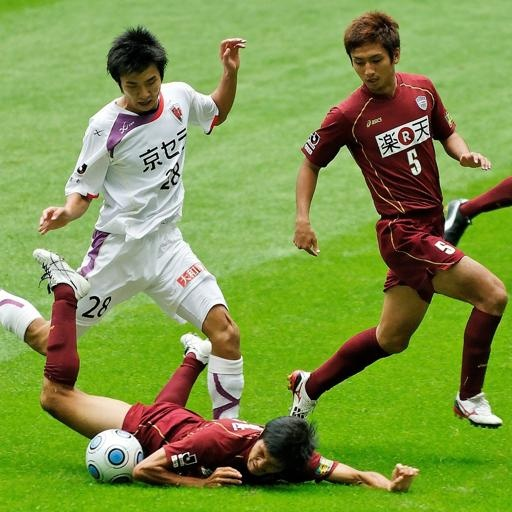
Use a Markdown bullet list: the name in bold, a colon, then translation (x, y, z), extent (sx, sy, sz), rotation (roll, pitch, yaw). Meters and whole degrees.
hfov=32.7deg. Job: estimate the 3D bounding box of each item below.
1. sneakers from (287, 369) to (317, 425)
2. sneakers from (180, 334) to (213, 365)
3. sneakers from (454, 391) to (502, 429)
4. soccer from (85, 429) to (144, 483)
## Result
- **sneakers**: translation (0.246, 0.799, 4.984), extent (0.167, 0.289, 0.120), rotation (14, 4, 27)
- **sneakers**: translation (-0.349, 0.528, 4.985), extent (0.136, 0.074, 0.261), rotation (-9, 15, -23)
- **sneakers**: translation (1.170, 0.801, 4.624), extent (0.150, 0.150, 0.356), rotation (-4, 7, -21)
- **soccer**: translation (-0.691, 0.960, 4.248), extent (0.295, 0.235, 0.258), rotation (11, -9, -19)
